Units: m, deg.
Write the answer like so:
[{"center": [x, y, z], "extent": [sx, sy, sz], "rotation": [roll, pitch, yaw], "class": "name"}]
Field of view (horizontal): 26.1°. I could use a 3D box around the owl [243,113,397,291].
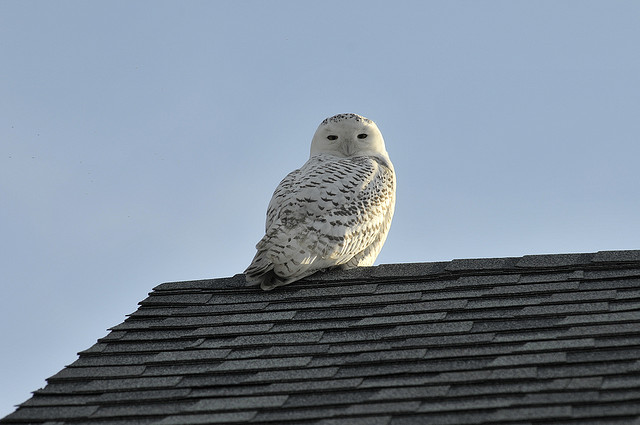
[{"center": [-0.117, -0.104, 10.967], "extent": [1.058, 1.815, 1.422], "rotation": [8, -82, 21], "class": "owl"}]
